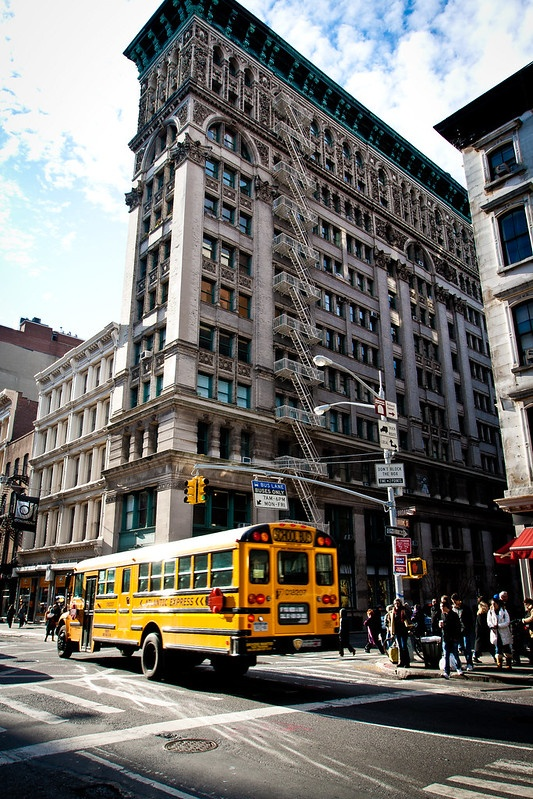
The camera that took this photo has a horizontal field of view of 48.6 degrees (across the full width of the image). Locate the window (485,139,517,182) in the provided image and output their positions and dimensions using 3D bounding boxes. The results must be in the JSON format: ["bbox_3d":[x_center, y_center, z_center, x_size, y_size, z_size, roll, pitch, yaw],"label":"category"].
[{"bbox_3d":[10.325,-10.537,25.907,0.157,2.216,1.908,21,-27,-27],"label":"window"}]

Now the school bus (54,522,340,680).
[{"bbox_3d":[-2.534,5.338,15.213,3.122,3.094,9.432,15,-26,-38],"label":"school bus"}]

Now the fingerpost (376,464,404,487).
[{"bbox_3d":[4.004,2.449,19.092,0.840,0.601,0.120,-1,0,-27],"label":"fingerpost"}]

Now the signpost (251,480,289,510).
[{"bbox_3d":[0.096,3.495,21.786,1.561,0.978,0.621,15,-25,-39],"label":"signpost"}]
